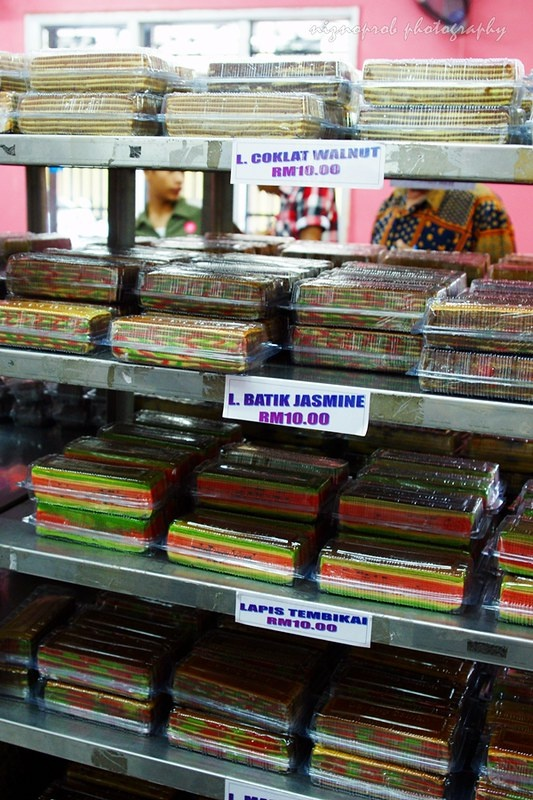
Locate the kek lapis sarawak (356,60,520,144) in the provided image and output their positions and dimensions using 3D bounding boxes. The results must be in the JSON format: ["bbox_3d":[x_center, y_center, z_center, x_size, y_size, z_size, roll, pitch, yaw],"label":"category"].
[{"bbox_3d":[0.247,-0.443,1.004,0.208,0.072,0.152,6,31,8],"label":"kek lapis sarawak"}]

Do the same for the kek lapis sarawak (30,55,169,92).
[{"bbox_3d":[-0.299,-0.568,1.186,0.252,0.066,0.067,6,11,17],"label":"kek lapis sarawak"}]

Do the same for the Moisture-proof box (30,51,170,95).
[{"bbox_3d":[-0.300,-0.563,1.158,0.139,0.037,0.137,1,19,-6],"label":"Moisture-proof box"}]

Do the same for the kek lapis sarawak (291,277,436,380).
[{"bbox_3d":[0.140,-0.118,1.088,0.211,0.125,0.158,6,20,18],"label":"kek lapis sarawak"}]

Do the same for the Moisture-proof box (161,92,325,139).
[{"bbox_3d":[-0.042,-0.453,1.086,0.264,0.077,0.073,7,11,22],"label":"Moisture-proof box"}]
